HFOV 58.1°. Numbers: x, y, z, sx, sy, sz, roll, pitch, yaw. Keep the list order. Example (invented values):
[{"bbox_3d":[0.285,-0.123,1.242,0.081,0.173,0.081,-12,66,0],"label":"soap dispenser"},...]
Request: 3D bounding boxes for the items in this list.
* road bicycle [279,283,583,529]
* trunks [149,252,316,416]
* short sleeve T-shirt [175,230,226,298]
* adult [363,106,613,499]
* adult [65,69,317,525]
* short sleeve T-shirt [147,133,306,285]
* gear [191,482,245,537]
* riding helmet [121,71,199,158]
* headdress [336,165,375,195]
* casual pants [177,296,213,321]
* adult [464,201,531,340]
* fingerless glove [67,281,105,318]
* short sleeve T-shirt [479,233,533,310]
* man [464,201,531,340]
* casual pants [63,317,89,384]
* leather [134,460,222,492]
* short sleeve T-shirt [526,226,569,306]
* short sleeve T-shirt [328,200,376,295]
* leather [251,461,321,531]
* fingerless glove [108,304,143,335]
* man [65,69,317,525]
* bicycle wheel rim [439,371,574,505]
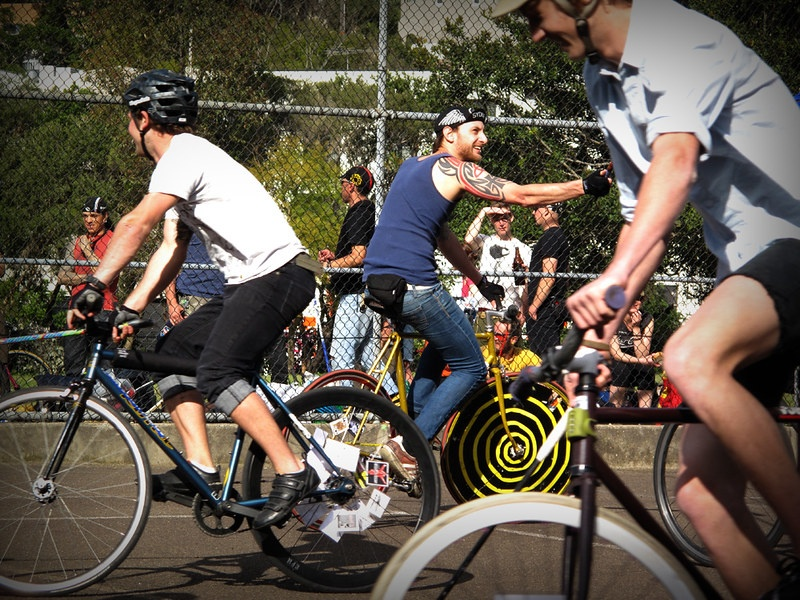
[{"bbox_3d":[0.197,0.563,4.308,1.837,1.290,0.950,6,7,-24],"label":"road bicycle"},{"bbox_3d":[-0.882,0.121,3.727,0.680,0.648,0.698,17,32,26],"label":"trunks"},{"bbox_3d":[-1.297,-0.219,4.673,0.426,0.562,0.047,0,4,2],"label":"short sleeve T-shirt"},{"bbox_3d":[0.516,-0.066,4.582,1.398,2.241,1.067,4,12,4],"label":"adult"},{"bbox_3d":[-1.086,-0.031,3.768,1.158,2.339,0.855,-3,-1,7],"label":"adult"},{"bbox_3d":[-0.959,-0.405,3.834,0.507,0.802,0.578,-22,-9,-25],"label":"short sleeve T-shirt"},{"bbox_3d":[-0.953,1.059,3.599,0.170,0.200,0.190,4,13,-14],"label":"gear"},{"bbox_3d":[-1.247,-0.976,3.825,0.322,0.429,0.428,-4,35,-30],"label":"riding helmet"},{"bbox_3d":[-0.406,-1.079,6.518,0.286,0.173,0.205,41,24,30],"label":"headdress"},{"bbox_3d":[-1.354,0.044,4.737,0.193,0.217,0.019,1,39,4],"label":"casual pants"},{"bbox_3d":[0.956,-0.260,7.082,0.513,1.428,0.422,10,36,18],"label":"adult"},{"bbox_3d":[-1.499,-0.012,3.452,0.173,0.075,0.133,-30,-3,24],"label":"fingerless glove"},{"bbox_3d":[0.912,-0.234,6.281,0.521,0.701,0.352,0,-21,5],"label":"short sleeve T-shirt"},{"bbox_3d":[0.926,-0.168,6.882,0.558,1.503,0.458,0,-12,11],"label":"man"},{"bbox_3d":[-1.890,0.297,4.212,0.125,0.432,0.419,7,1,-21],"label":"casual pants"},{"bbox_3d":[-1.089,0.861,3.608,0.354,0.191,0.135,2,25,2],"label":"leather"},{"bbox_3d":[1.327,-0.292,6.457,0.279,0.626,0.525,4,-19,-1],"label":"short sleeve T-shirt"},{"bbox_3d":[-0.405,-0.421,6.058,0.375,0.932,0.778,7,2,-6],"label":"short sleeve T-shirt"},{"bbox_3d":[-0.550,0.928,3.507,0.150,0.198,0.428,-15,11,40],"label":"leather"},{"bbox_3d":[-1.353,0.103,3.584,0.119,0.138,0.048,2,-16,3],"label":"fingerless glove"},{"bbox_3d":[-1.068,-0.033,3.746,1.152,2.284,0.744,-3,-3,2],"label":"man"},{"bbox_3d":[0.739,0.951,4.757,0.840,0.884,0.213,-33,24,14],"label":"bicycle wheel rim"}]
